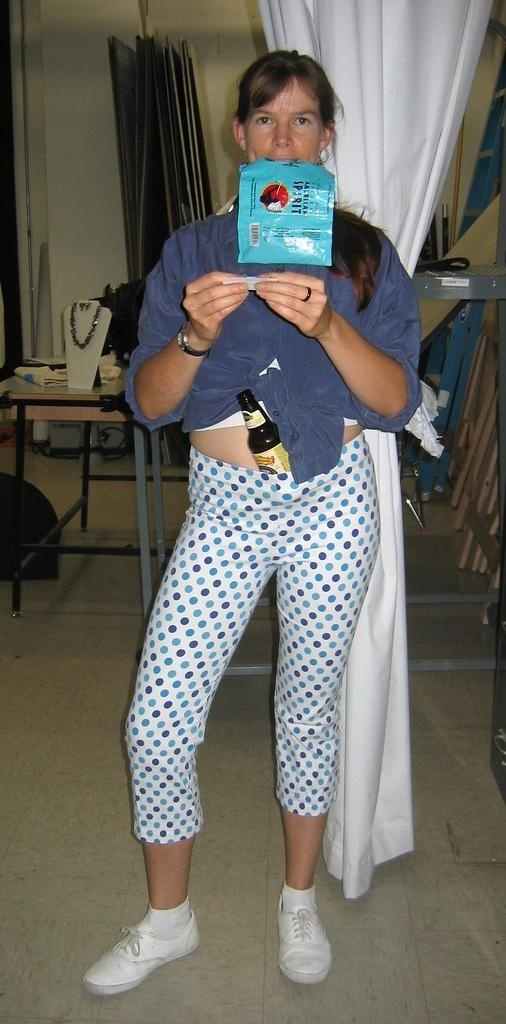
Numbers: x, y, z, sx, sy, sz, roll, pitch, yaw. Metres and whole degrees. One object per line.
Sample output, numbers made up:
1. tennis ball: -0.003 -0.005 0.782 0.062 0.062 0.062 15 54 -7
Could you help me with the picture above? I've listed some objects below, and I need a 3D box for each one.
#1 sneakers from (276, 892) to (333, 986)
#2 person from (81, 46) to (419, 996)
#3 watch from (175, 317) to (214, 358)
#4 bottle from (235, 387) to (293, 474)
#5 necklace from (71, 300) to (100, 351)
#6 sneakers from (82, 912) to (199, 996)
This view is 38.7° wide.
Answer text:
1. sneakers: 0.097 0.756 1.327 0.066 0.074 0.171 0 25 0
2. person: -0.009 0.206 1.169 0.449 1.329 0.412 10 14 43
3. watch: -0.078 -0.229 0.959 0.039 0.018 0.047 5 53 -46
4. bottle: 0.014 -0.109 0.994 0.072 0.113 0.037 8 13 36
5. necklace: -0.649 -0.724 2.816 0.108 0.216 0.049 -2 -9 28
6. sneakers: -0.199 0.810 1.307 0.163 0.072 0.056 -30 42 -24
